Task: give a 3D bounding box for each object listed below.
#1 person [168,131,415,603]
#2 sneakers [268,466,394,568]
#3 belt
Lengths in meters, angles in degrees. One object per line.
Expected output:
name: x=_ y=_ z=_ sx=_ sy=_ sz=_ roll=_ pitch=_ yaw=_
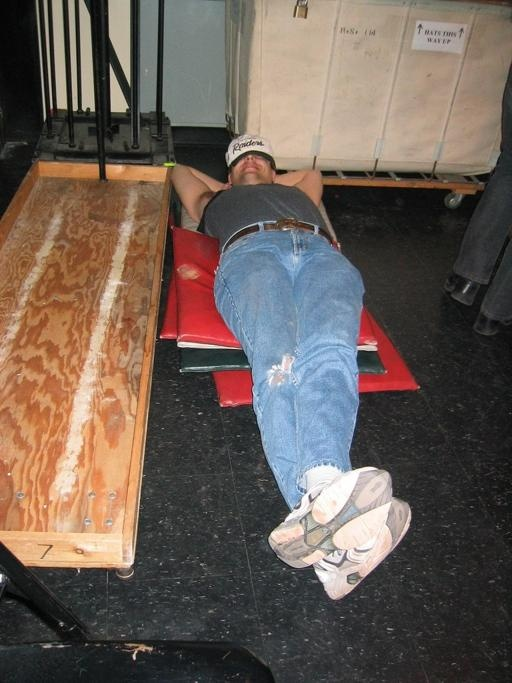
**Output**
person: x=0.000 y=-0.021 z=1.578 sx=0.533 sy=0.588 sz=1.379 roll=-9 pitch=51 yaw=-3
sneakers: x=0.148 y=0.345 z=1.067 sx=0.136 sy=0.299 sz=0.134 roll=53 pitch=30 yaw=0
belt: x=0.060 y=-0.362 z=1.757 sx=0.194 sy=0.175 sz=0.045 roll=3 pitch=79 yaw=-20
